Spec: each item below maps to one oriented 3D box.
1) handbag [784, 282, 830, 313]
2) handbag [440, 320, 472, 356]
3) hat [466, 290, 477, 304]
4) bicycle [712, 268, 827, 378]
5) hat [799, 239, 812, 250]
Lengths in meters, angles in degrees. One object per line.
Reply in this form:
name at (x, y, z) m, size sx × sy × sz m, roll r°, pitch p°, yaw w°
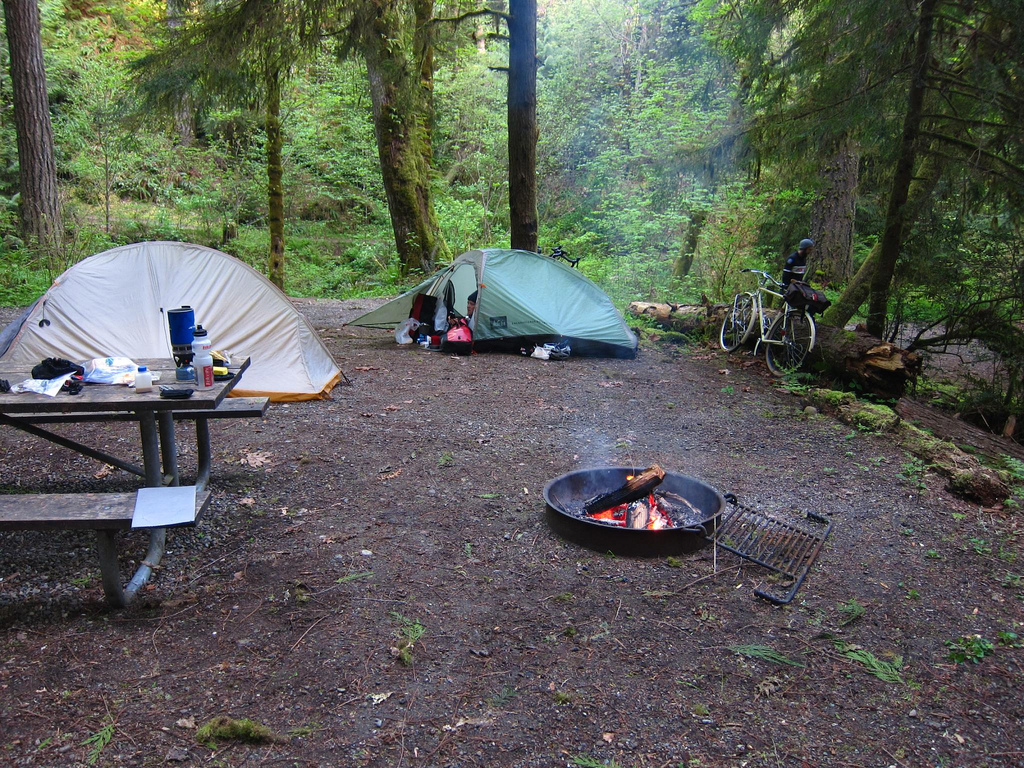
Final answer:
handbag at (3.586, -1.047, 9.669) m, size 0.336 × 0.193 × 0.453 m, roll 17°, pitch 20°, yaw -16°
handbag at (-0.715, -0.629, 10.584) m, size 0.453 × 0.460 × 0.305 m, roll -1°, pitch 9°, yaw -23°
hat at (-0.521, -1.193, 10.672) m, size 0.057 × 0.199 × 0.295 m, roll -8°, pitch 18°, yaw -25°
bicycle at (3.650, -0.816, 10.490) m, size 0.840 × 1.087 × 1.975 m, roll 8°, pitch 18°, yaw -23°
hat at (3.648, -1.733, 9.852) m, size 0.142 × 0.143 × 0.284 m, roll 6°, pitch 17°, yaw 18°
